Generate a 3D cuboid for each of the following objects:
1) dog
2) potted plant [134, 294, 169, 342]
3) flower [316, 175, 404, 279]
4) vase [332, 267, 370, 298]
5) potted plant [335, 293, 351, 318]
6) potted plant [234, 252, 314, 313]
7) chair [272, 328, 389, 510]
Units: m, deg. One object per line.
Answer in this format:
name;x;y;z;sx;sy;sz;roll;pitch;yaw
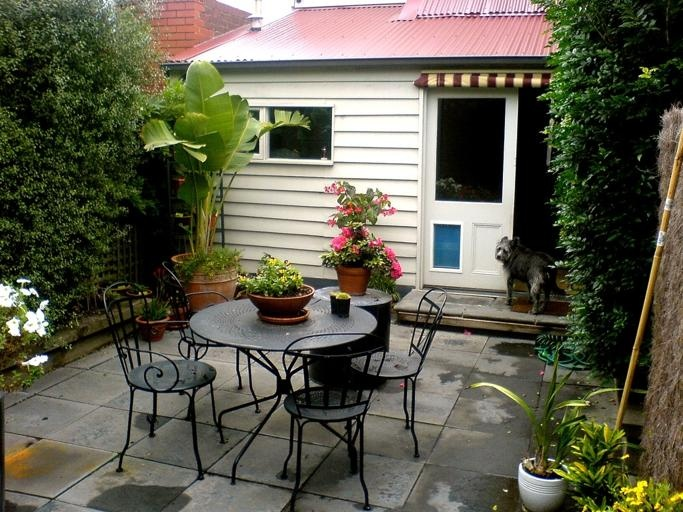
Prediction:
dog;2.322;0.237;6.829;0.406;0.773;1.125;-5;13;-21
potted plant;-2.212;0.732;6.291;0.385;0.407;0.376;15;-20;-25
flower;0.295;-0.409;7.228;1.476;1.393;0.915;6;7;37
vase;0.142;0.307;6.697;0.352;0.227;0.346;-2;3;-44
potted plant;0.015;0.402;4.450;0.179;0.188;0.166;0;7;5
potted plant;-0.527;0.261;4.339;0.511;0.326;0.505;-12;-20;27
chair;-0.049;1.035;4.177;0.738;1.105;1.391;0;9;3
